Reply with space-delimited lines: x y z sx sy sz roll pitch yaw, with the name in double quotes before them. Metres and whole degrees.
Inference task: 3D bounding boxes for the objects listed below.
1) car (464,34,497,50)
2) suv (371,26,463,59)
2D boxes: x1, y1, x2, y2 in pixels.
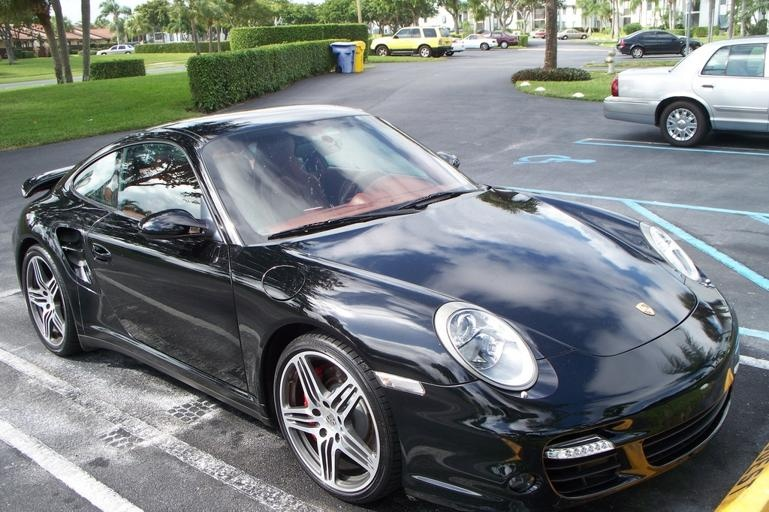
"car" 10.743 -24.336 52.498 5.248 1.297 1.842 7 33 12
"suv" 3.001 -18.708 40.451 7.682 2.078 3.021 5 22 11
